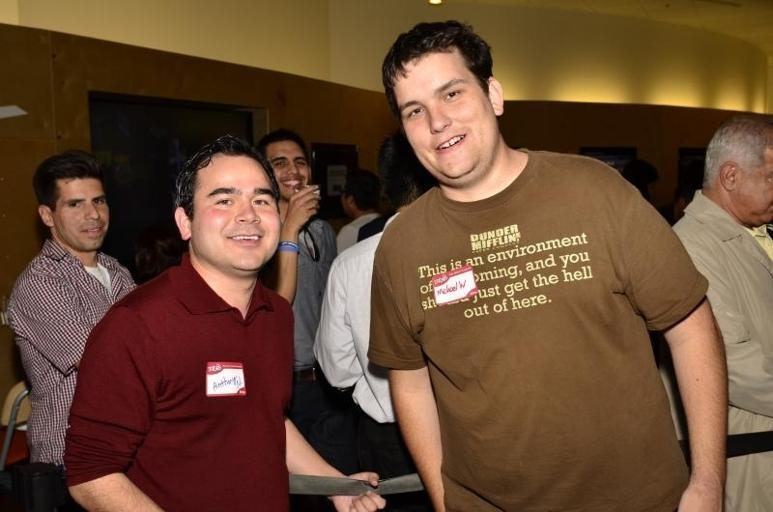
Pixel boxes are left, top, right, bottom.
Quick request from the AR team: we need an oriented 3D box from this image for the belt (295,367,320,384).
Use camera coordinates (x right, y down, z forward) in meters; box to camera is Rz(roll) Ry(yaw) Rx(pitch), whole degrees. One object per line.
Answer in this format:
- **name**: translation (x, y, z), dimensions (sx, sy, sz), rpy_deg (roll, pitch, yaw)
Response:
- **belt**: translation (-0.512, 0.759, 3.924), dimensions (0.096, 0.071, 0.092), rpy_deg (0, 3, -14)

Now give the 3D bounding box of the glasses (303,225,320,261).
- **glasses**: translation (-0.498, -0.092, 4.160), dimensions (0.070, 0.202, 0.148), rpy_deg (-8, -4, -29)
